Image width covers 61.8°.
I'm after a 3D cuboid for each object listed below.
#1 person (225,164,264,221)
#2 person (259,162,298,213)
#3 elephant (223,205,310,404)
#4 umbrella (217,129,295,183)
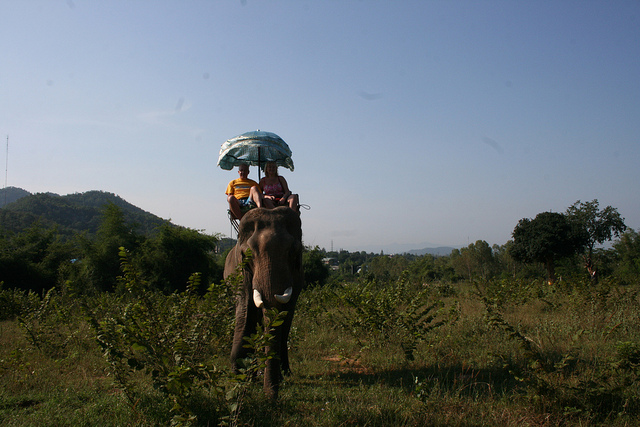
[{"bbox_3d":[-1.978,-0.522,14.493,0.908,1.988,1.516,0,-8,-22],"label":"person"},{"bbox_3d":[-1.126,-0.541,13.628,0.620,1.507,0.862,-11,-37,-16],"label":"person"},{"bbox_3d":[-1.307,2.093,13.149,1.942,4.826,4.159,-1,-9,-4],"label":"elephant"},{"bbox_3d":[-1.818,-1.824,15.868,2.001,1.118,2.057,7,-14,-32],"label":"umbrella"}]
